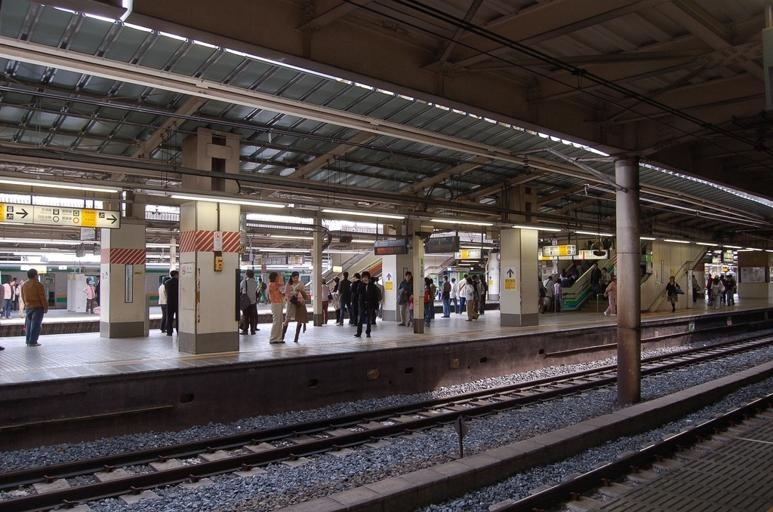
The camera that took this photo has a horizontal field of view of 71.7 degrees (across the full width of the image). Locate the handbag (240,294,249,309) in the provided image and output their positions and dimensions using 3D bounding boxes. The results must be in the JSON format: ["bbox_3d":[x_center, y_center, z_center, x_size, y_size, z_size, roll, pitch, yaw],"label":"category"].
[{"bbox_3d":[-5.082,1.654,19.224,0.284,0.525,0.744,1,-4,-17],"label":"handbag"}]

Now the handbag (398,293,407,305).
[{"bbox_3d":[0.632,1.778,22.149,0.373,0.473,0.568,0,-4,2],"label":"handbag"}]

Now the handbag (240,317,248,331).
[{"bbox_3d":[-5.371,2.547,20.059,0.234,0.569,0.517,2,-4,-27],"label":"handbag"}]

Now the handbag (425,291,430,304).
[{"bbox_3d":[1.722,1.800,23.036,0.223,0.457,0.412,-1,-4,9],"label":"handbag"}]

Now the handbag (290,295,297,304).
[{"bbox_3d":[-3.076,1.431,17.543,0.184,0.273,0.230,1,-4,-23],"label":"handbag"}]
